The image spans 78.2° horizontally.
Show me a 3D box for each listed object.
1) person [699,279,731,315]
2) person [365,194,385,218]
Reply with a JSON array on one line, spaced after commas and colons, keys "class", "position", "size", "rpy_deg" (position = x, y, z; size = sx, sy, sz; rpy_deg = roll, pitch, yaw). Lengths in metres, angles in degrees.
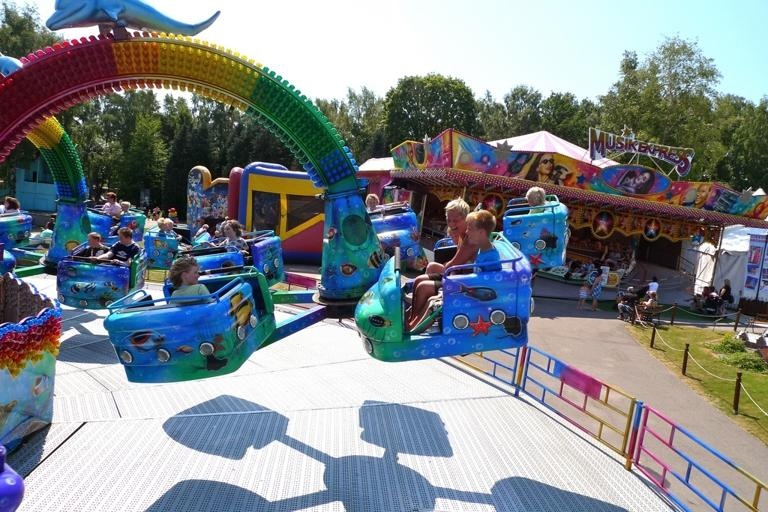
[{"class": "person", "position": [12.013, 1.527, 17.358], "size": [0.946, 0.863, 1.481], "rpy_deg": [-2, -7, 11]}, {"class": "person", "position": [-0.200, -1.112, 10.525], "size": [0.368, 0.510, 0.912], "rpy_deg": [3, 8, -1]}]
